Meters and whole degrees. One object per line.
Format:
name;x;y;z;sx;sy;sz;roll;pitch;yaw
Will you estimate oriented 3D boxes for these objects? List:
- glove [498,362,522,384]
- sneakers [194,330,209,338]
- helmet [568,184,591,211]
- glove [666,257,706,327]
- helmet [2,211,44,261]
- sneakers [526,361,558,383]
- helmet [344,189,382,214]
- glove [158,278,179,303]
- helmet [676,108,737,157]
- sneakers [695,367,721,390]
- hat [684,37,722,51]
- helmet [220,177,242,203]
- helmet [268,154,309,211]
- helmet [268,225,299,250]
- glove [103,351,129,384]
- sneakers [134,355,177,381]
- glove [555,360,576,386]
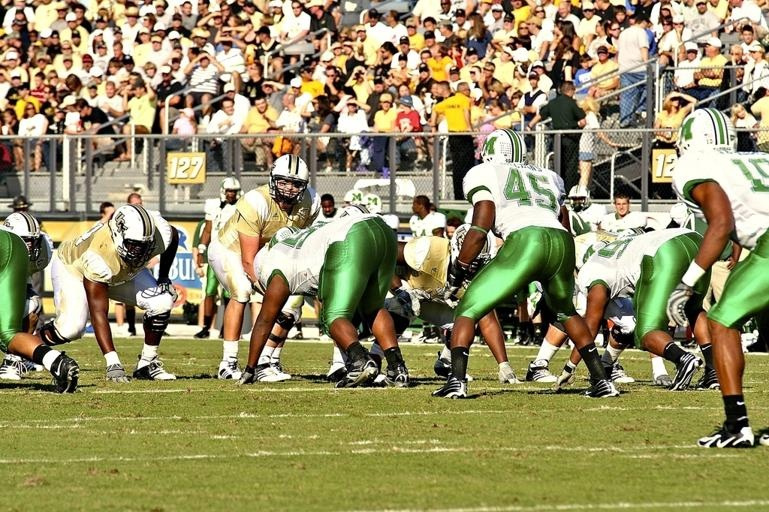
glove;1.272;1.168;12.679;0.214;0.229;0.243;1;4;6
sneakers;-2.681;1.142;18.546;0.251;0.164;0.087;6;26;-3
helmet;2.628;-0.760;16.810;0.271;0.295;0.339;-2;3;11
glove;2.657;0.427;11.126;0.289;0.280;0.938;15;28;9
helmet;-3.563;-0.208;12.461;0.473;0.460;0.362;6;10;26
sneakers;1.681;1.213;13.020;0.392;0.177;0.146;-5;-7;43
helmet;-0.234;-0.628;15.189;0.396;0.219;0.568;10;-5;24
glove;-2.266;0.341;13.098;0.106;0.248;0.153;-42;-7;-43
helmet;2.706;-1.043;10.529;0.482;0.384;0.331;1;4;12
sneakers;3.086;1.161;12.001;0.175;0.202;0.481;-1;-9;4
hat;4.701;-3.094;18.443;0.451;0.227;0.275;-8;5;5
helmet;-2.149;-0.891;17.423;0.297;0.348;0.396;2;7;-24
helmet;-0.957;-0.804;13.096;0.393;0.453;0.511;7;9;-11
helmet;-0.981;-0.187;12.427;0.182;0.078;0.264;-7;18;43
glove;-2.728;1.108;12.782;0.237;0.285;0.494;-1;4;-13
sneakers;-2.407;1.182;13.100;0.553;0.262;0.195;1;-1;14
glove;1.862;1.202;12.827;0.100;0.232;0.141;43;-8;-24
